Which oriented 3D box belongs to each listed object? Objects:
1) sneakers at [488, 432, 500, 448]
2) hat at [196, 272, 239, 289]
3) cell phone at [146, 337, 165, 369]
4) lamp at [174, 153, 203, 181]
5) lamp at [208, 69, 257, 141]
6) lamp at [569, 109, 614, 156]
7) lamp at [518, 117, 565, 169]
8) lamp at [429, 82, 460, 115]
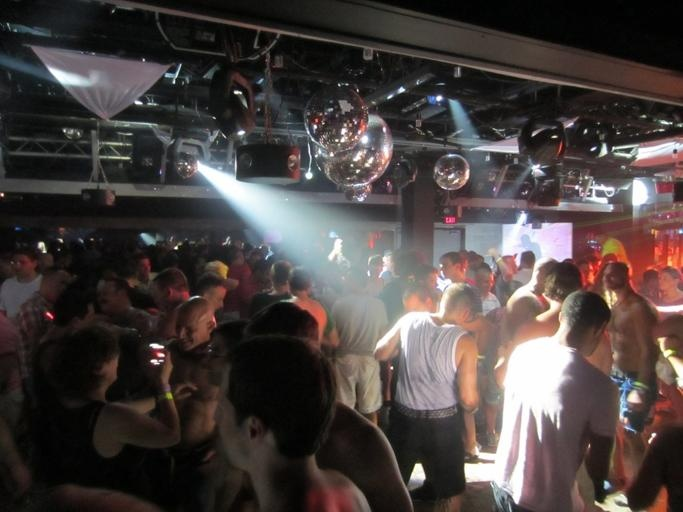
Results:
[{"bbox_3d":[1.407,1.713,4.946,0.091,0.125,0.132,-1,-20,8],"label":"sneakers"},{"bbox_3d":[-0.966,0.208,4.276,0.289,0.109,0.184,3,3,-23],"label":"hat"},{"bbox_3d":[-0.982,0.524,2.844,0.092,0.129,0.202,3,0,-40],"label":"cell phone"},{"bbox_3d":[-2.168,-1.281,7.482,0.293,0.356,0.432,3,0,-13],"label":"lamp"},{"bbox_3d":[-0.840,-1.185,4.171,0.255,0.521,0.402,3,0,30],"label":"lamp"},{"bbox_3d":[2.997,-1.414,6.389,0.548,0.458,0.219,-8,7,-2],"label":"lamp"},{"bbox_3d":[1.994,-1.155,5.238,0.356,0.654,0.210,14,34,27],"label":"lamp"},{"bbox_3d":[1.141,-1.720,5.710,0.372,0.226,0.369,-5,1,-10],"label":"lamp"}]
